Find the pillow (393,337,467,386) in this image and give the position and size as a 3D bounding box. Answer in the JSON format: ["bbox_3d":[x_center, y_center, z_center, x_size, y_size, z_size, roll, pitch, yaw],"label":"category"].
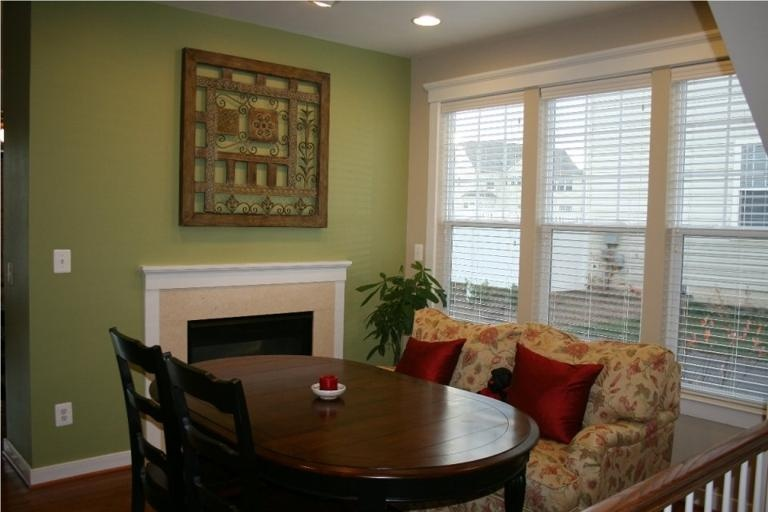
[{"bbox_3d":[0.317,0.693,3.676,0.369,0.334,0.116,4,-26,41],"label":"pillow"}]

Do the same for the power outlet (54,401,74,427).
[{"bbox_3d":[-2.246,1.102,3.858,0.114,0.170,0.022,-6,13,-27],"label":"power outlet"}]
